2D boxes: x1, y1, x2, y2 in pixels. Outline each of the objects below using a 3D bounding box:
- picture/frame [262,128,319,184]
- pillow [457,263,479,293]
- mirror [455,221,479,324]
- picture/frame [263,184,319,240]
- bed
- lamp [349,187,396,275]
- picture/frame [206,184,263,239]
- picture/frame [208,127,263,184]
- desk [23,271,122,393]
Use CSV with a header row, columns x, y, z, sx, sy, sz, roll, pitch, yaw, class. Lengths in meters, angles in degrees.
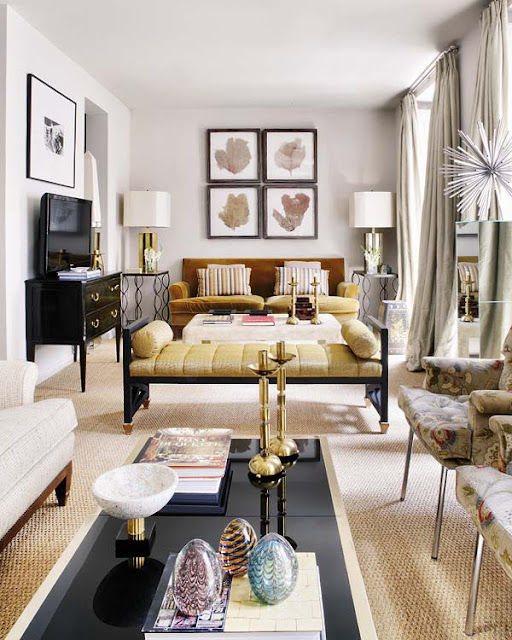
x,y,z,sx,sy,sz,roll,pitch,yaw,class
0.425,-2.019,5.859,0.609,0.661,0.042,0,8,5,picture/frame
1.124,-0.221,2.549,0.101,0.144,0.044,-3,1,14,pillow
1.130,-0.226,2.571,0.105,0.538,0.010,-1,24,22,mirror
0.435,-1.356,5.918,0.617,0.643,0.065,0,2,-2,picture/frame
-0.016,0.317,2.897,1.537,0.665,0.658,-1,6,12,bed
1.365,-1.039,5.717,0.487,0.984,0.529,-2,6,-3,lamp
-0.271,-1.367,5.931,0.600,0.627,0.063,-1,8,1,picture/frame
-0.262,-2.030,5.868,0.615,0.638,0.064,-1,6,1,picture/frame
-1.522,0.036,4.202,0.416,0.843,1.346,0,6,-5,desk
